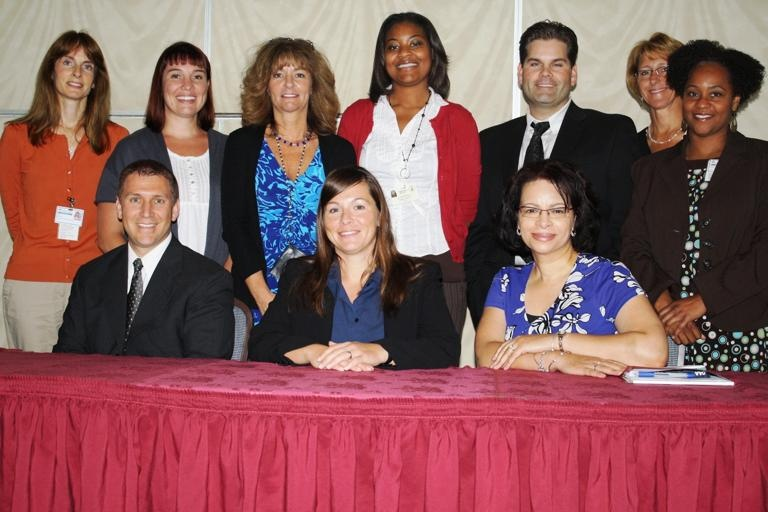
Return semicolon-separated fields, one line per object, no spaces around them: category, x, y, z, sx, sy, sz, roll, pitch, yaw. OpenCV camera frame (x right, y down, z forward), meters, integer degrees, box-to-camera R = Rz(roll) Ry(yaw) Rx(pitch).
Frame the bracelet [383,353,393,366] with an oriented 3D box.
bracelet;0.020;0.511;3.601;0.037;0.041;0.043;-2;-17;1

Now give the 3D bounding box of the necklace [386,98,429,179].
necklace;0.174;-0.722;4.680;0.137;0.428;0.032;12;-24;17

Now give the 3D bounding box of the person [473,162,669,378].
person;0.910;0.034;3.740;0.651;1.119;0.842;2;0;-41

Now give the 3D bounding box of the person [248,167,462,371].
person;-0.179;0.128;3.880;1.112;1.100;0.776;-1;9;7

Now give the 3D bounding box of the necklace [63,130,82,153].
necklace;-2.059;-0.756;4.920;0.133;0.137;0.035;10;-9;-16

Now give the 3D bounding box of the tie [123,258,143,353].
tie;-1.311;0.268;3.953;0.070;0.496;0.066;2;-22;2

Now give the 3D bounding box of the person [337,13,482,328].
person;0.171;-0.240;4.934;0.917;2.682;0.873;2;17;23

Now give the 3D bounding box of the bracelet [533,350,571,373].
bracelet;0.783;0.503;3.545;0.085;0.046;0.118;1;-40;0

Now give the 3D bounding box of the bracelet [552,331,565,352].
bracelet;0.860;0.422;3.609;0.050;0.095;0.062;2;0;36

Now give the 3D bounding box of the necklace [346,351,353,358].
necklace;-0.159;0.468;3.512;0.024;0.025;0.006;0;-14;-6

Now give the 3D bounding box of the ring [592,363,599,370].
ring;0.972;0.507;3.398;0.022;0.011;0.028;-5;27;19

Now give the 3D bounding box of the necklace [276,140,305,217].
necklace;-0.600;-0.506;4.616;0.154;0.520;0.045;3;-24;-9

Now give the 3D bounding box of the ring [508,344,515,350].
ring;0.630;0.450;3.651;0.028;0.031;0.020;7;17;5
